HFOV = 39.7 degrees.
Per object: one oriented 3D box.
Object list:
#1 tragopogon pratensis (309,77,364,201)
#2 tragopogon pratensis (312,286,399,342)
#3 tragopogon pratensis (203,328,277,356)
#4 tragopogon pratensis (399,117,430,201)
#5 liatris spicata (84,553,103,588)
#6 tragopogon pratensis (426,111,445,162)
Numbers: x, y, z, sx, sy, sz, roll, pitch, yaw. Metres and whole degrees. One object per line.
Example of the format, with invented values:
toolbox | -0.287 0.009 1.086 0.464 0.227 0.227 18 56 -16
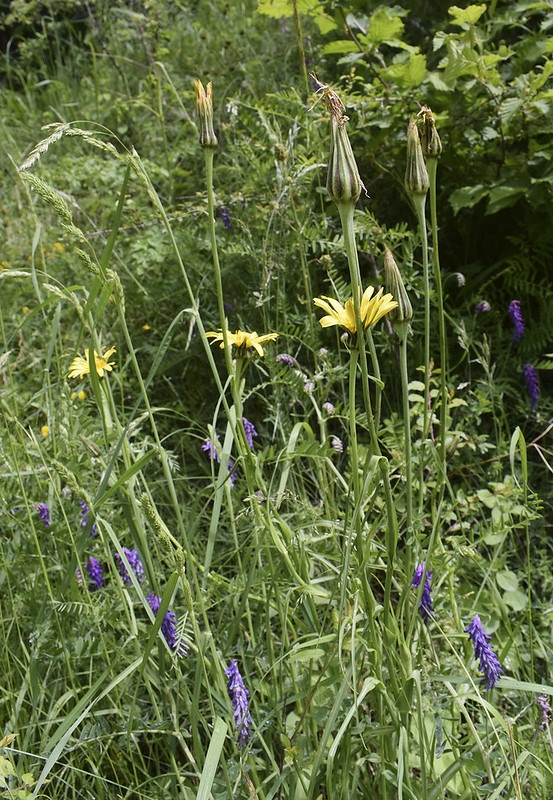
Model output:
tragopogon pratensis | 0.079 -0.335 0.996 0.054 0.171 0.038 -5 9 4
tragopogon pratensis | 0.120 -0.118 1.080 0.118 0.058 0.119 6 1 -15
tragopogon pratensis | -0.066 -0.122 1.582 0.150 0.046 0.153 8 7 26
tragopogon pratensis | 0.214 -0.370 1.178 0.033 0.120 0.039 1 17 8
liatris spicata | -0.408 0.382 1.716 0.042 0.042 0.102 -9 26 -11
tragopogon pratensis | 0.244 -0.421 1.212 0.031 0.064 0.023 -7 14 0
